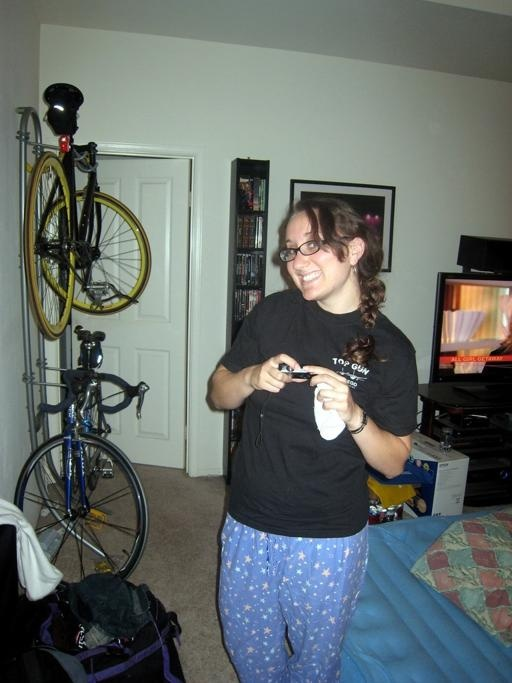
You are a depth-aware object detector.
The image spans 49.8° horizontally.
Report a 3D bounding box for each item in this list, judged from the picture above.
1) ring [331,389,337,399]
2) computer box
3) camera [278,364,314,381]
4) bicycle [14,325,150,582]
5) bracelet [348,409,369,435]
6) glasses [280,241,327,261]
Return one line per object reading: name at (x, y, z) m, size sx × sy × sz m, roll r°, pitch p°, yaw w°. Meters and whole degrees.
ring at (0.153, 0.104, 1.085) m, size 0.020 × 0.019 × 0.006 m, roll -2°, pitch 1°, yaw 20°
computer box at (0.897, 0.772, 3.157) m, size 0.276 × 0.338 × 0.505 m, roll 0°, pitch 5°, yaw -39°
camera at (0.082, 0.069, 1.167) m, size 0.071 × 0.036 × 0.045 m, roll 2°, pitch 9°, yaw 0°
bicycle at (-0.794, 0.460, 2.594) m, size 0.557 × 1.079 × 1.258 m, roll 0°, pitch 9°, yaw -12°
bracelet at (0.212, 0.161, 1.116) m, size 0.014 × 0.041 × 0.040 m, roll 37°, pitch 42°, yaw -13°
glasses at (0.089, -0.201, 1.235) m, size 0.034 × 0.052 × 0.134 m, roll -4°, pitch 11°, yaw -36°
